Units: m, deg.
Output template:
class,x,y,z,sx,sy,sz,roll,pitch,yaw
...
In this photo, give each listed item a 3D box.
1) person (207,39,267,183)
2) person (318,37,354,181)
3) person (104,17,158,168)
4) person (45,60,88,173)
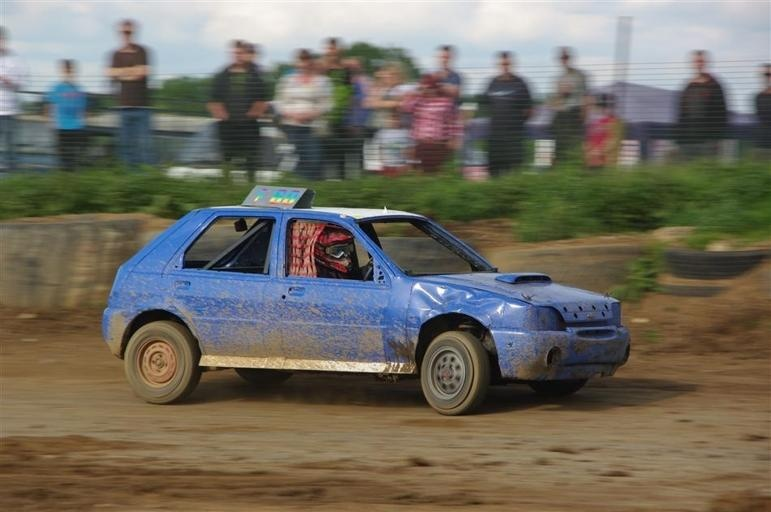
class,x,y,z,sx,sy,sz,roll,pitch,yaw
person,-2.127,-2.073,16.895,0.663,1.967,0.447,0,8,-23
person,-0.710,-2.099,16.703,0.452,1.961,0.265,3,7,-2
person,-3.697,-2.354,16.997,0.610,2.032,0.479,5,7,12
person,-4.604,-2.053,17.104,0.527,1.550,0.473,7,8,26
